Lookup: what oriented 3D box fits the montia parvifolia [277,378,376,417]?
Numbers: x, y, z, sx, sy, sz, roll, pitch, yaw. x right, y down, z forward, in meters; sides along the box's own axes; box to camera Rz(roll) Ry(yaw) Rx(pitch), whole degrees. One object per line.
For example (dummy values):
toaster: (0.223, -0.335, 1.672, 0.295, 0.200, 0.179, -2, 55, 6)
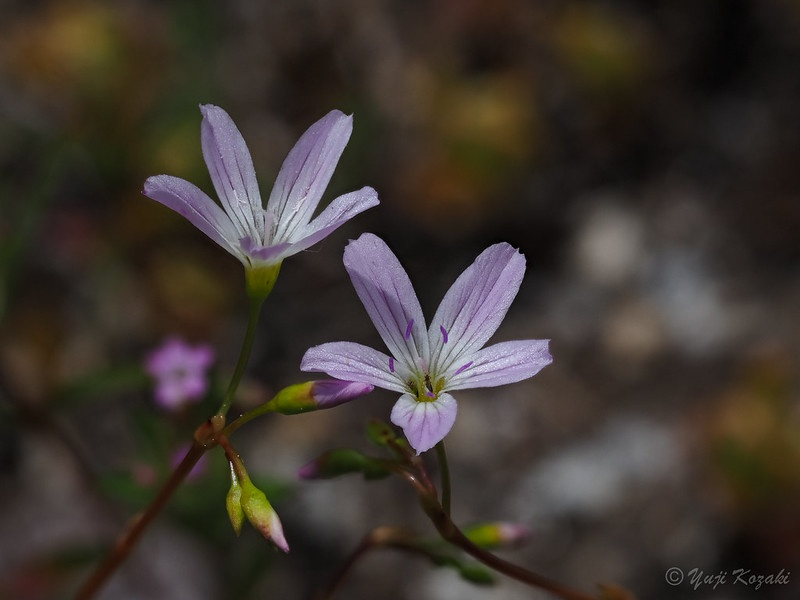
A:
montia parvifolia: (-0.295, 0.332, 2.754, 0.392, 0.138, 0.137, -5, 24, 15)
